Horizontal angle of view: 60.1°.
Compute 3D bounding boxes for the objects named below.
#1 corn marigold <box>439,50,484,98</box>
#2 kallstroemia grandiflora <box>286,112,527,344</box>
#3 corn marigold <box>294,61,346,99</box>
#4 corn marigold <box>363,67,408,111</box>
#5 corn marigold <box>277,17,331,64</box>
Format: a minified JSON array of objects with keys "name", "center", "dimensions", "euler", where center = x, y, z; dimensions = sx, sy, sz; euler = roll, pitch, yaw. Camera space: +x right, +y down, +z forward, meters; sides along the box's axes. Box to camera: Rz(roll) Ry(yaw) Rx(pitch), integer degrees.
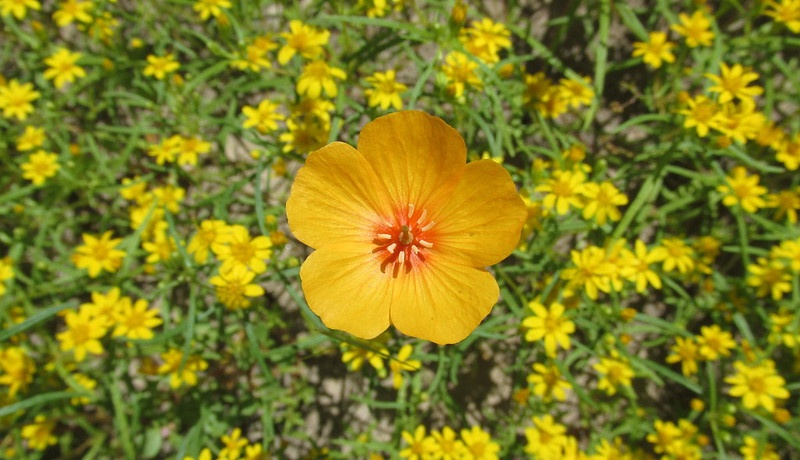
[{"name":"corn marigold","center":[0.345,-0.831,3.784],"dimensions":[0.241,0.090,0.241],"euler":[-6,96,6]},{"name":"kallstroemia grandiflora","center":[-0.010,-0.001,3.333],"dimensions":[1.072,0.275,1.088],"euler":[18,86,1]},{"name":"corn marigold","center":[-0.428,-0.802,3.752],"dimensions":[0.248,0.114,0.208],"euler":[18,86,1]},{"name":"corn marigold","center":[-0.077,-0.760,3.981],"dimensions":[0.229,0.338,0.257],"euler":[-21,86,-2]},{"name":"corn marigold","center":[-0.523,-1.013,3.780],"dimensions":[0.287,0.251,0.223],"euler":[-16,86,-1]}]
